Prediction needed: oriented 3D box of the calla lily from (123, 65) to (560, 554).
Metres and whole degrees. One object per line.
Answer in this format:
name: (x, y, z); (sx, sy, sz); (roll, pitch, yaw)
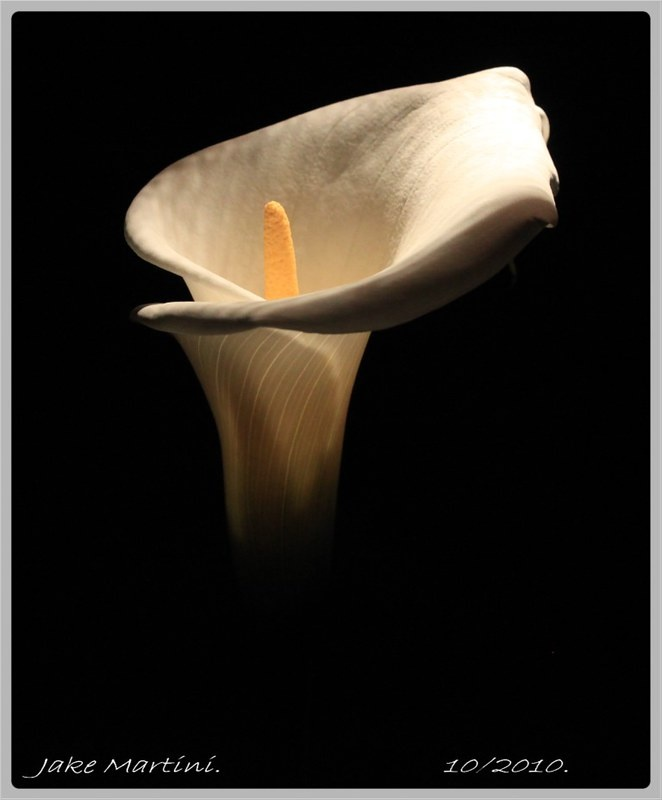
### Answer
calla lily: (0.055, -0.179, 1.206); (0.647, 0.427, 0.610); (-27, 34, -35)
